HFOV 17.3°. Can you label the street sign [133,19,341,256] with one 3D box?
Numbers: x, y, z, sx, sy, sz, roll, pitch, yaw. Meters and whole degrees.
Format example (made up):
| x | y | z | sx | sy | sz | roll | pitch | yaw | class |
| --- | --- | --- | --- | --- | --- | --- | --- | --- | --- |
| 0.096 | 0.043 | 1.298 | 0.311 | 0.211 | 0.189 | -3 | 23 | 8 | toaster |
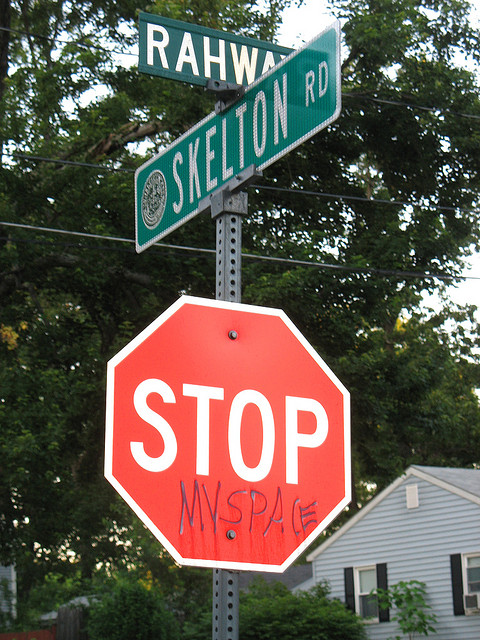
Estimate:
| x | y | z | sx | sy | sz | roll | pitch | yaw | class |
| --- | --- | --- | --- | --- | --- | --- | --- | --- | --- |
| -0.036 | -1.841 | 15.978 | 2.234 | 1.952 | 0.325 | -2 | -1 | 25 | street sign |
